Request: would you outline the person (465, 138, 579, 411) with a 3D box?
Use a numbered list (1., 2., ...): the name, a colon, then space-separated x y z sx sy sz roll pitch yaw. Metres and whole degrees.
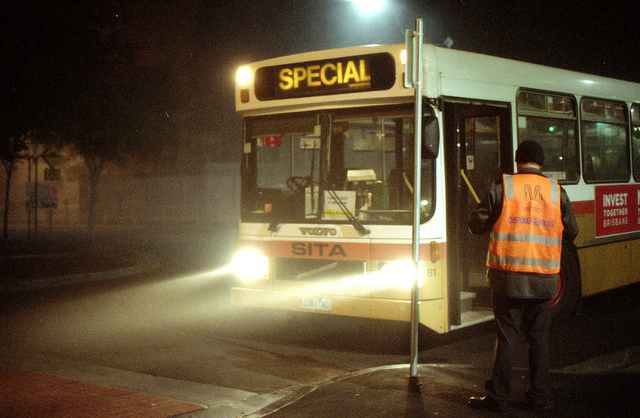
1. person: 2.827 0.912 8.593 1.388 3.729 0.567 -1 4 6
